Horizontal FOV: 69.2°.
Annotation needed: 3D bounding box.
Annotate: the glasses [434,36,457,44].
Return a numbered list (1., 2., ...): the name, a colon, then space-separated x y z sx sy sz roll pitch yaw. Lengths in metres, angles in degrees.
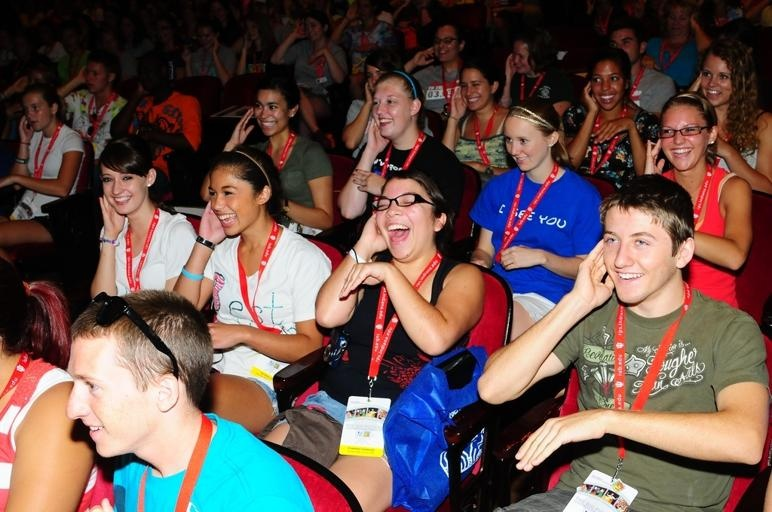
1. glasses: 0.636 -2.252 5.835 0.219 0.066 0.058 9 1 6

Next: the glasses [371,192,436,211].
1. glasses: 0.087 -0.277 2.912 0.319 0.099 0.099 9 1 22
